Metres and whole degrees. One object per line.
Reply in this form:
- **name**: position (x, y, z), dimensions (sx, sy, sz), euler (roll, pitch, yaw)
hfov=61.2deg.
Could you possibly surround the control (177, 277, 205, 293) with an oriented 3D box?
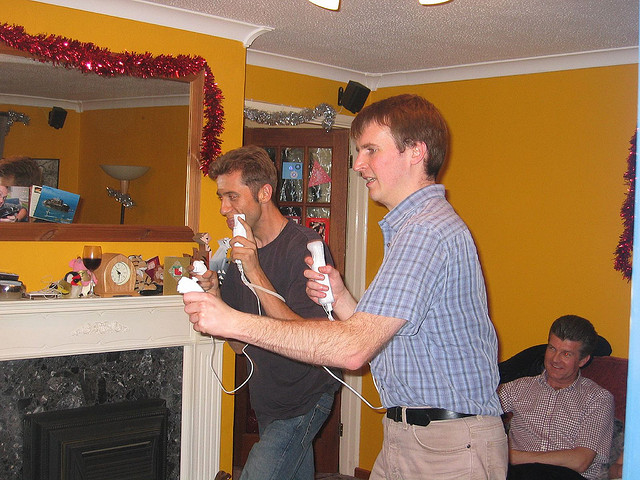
- **control**: position (-0.421, 0.147, 1.750), dimensions (0.069, 0.046, 0.132), euler (2, -3, -12)

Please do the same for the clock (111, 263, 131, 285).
- **clock**: position (-1.129, 0.192, 3.065), dimensions (0.106, 0.106, 0.024), euler (6, -4, -44)

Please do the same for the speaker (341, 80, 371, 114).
- **speaker**: position (0.270, -1.107, 4.213), dimensions (0.170, 0.196, 0.209), euler (3, -4, -21)

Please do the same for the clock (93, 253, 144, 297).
- **clock**: position (-1.123, 0.197, 3.117), dimensions (0.238, 0.245, 0.199), euler (3, 6, 8)

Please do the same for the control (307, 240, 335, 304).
- **control**: position (0.008, 0.119, 1.994), dimensions (0.105, 0.231, 0.161), euler (2, -3, -3)

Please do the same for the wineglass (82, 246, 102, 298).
- **wineglass**: position (-1.273, 0.178, 3.015), dimensions (0.104, 0.283, 0.180), euler (3, -4, -23)

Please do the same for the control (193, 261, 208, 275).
- **control**: position (-0.576, 0.134, 2.586), dimensions (0.060, 0.063, 0.081), euler (1, -3, 16)
